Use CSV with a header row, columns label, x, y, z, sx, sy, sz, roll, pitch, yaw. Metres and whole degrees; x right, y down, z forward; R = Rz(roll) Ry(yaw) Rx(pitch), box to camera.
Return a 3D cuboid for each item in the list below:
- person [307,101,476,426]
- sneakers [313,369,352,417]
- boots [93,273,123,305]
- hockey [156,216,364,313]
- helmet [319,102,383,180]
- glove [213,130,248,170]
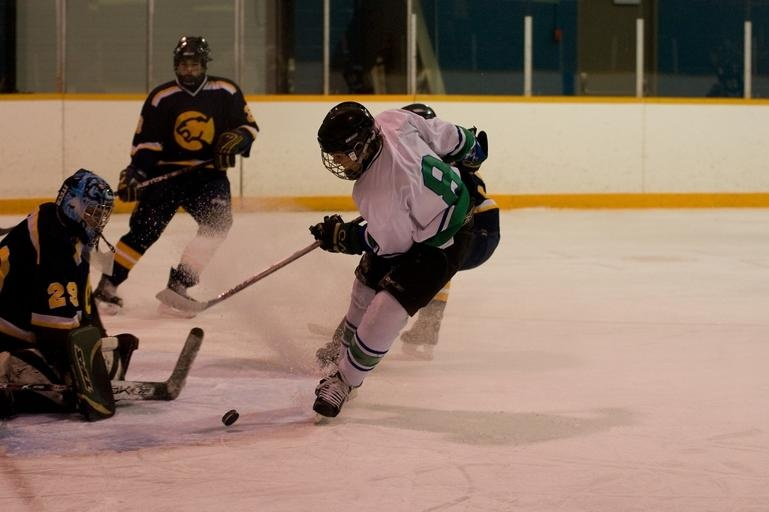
label,x,y,z,sx,sy,sz,roll,pitch,yaw
person,0.057,-0.002,5.620,0.898,1.613,0.608,0,8,-8
sneakers,-0.274,0.715,5.455,0.152,0.226,0.212,4,8,18
boots,-1.803,0.219,7.018,0.239,0.202,0.094,13,-3,10
hockey,-0.908,0.080,7.638,1.280,0.170,0.173,-29,-4,6
helmet,-0.171,-0.592,5.435,0.276,0.394,0.190,6,9,32
glove,-1.031,-0.716,7.054,0.227,0.229,0.106,-1,20,-35
